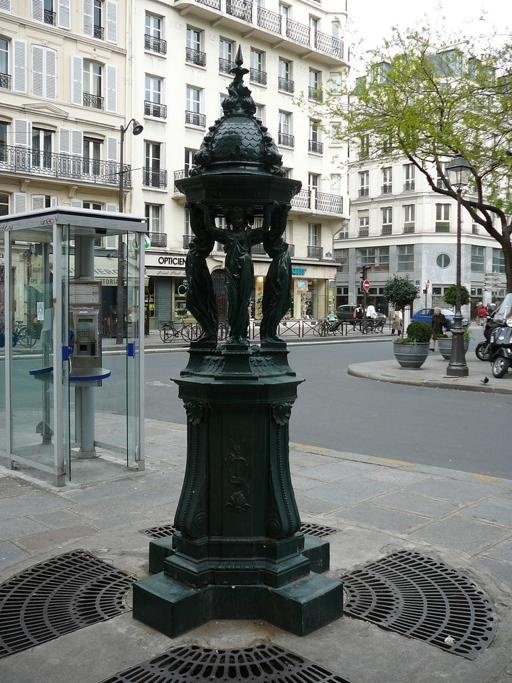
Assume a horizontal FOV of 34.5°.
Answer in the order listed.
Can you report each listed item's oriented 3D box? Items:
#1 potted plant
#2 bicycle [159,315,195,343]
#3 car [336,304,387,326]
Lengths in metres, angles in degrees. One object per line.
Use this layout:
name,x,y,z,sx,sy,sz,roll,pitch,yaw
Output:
potted plant,3.755,0.107,18.994,1.056,0.902,0.822,-1,5,-12
bicycle,-3.083,-0.436,32.080,2.001,1.158,1.024,-1,7,-7
car,6.051,-1.468,48.410,3.619,1.295,1.665,0,4,35
